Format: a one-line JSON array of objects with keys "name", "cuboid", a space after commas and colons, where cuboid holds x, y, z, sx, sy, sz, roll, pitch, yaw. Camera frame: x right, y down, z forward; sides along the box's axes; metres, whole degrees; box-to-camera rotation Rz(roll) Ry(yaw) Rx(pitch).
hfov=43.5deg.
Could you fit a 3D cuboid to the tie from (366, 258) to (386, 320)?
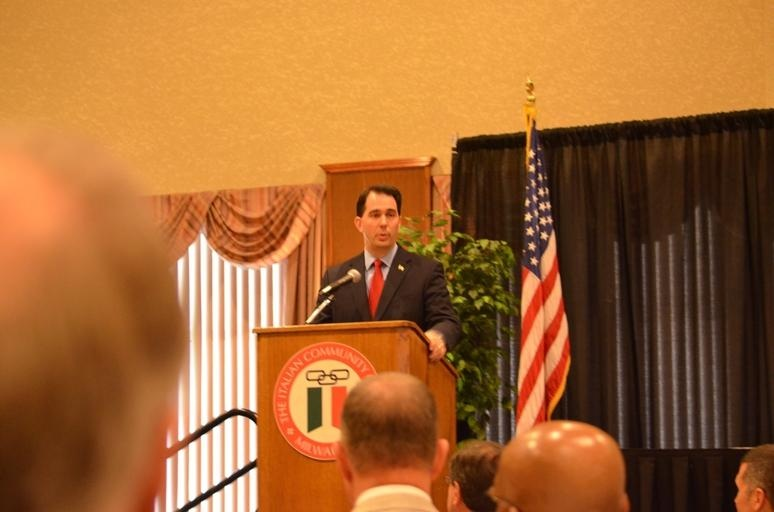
[{"name": "tie", "cuboid": [-0.066, 0.199, 6.161, 0.069, 0.426, 0.064, 3, -28, 5]}]
